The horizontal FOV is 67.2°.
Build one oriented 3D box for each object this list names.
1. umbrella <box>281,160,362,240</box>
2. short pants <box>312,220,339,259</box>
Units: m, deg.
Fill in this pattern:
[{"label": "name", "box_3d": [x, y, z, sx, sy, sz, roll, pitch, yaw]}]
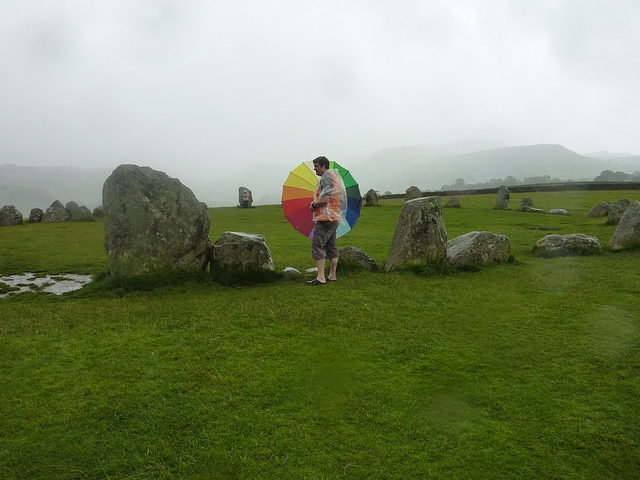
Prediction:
[{"label": "umbrella", "box_3d": [0.113, -1.021, 14.584, 2.540, 2.868, 1.218, 14, 42, -6]}, {"label": "short pants", "box_3d": [0.162, 0.001, 11.670, 0.784, 0.969, 0.362, -9, 12, -40]}]
